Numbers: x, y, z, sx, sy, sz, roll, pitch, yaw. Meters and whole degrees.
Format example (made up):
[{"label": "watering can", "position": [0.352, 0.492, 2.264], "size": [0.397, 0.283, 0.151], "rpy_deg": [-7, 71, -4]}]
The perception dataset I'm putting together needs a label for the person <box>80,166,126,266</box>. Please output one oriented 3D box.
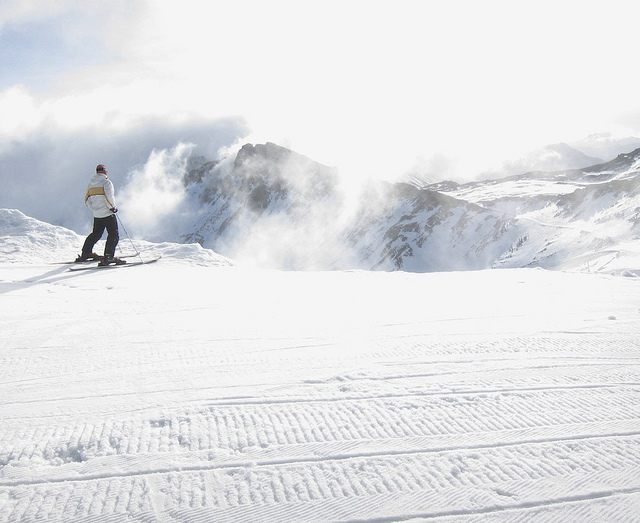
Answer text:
[{"label": "person", "position": [-4.729, -0.931, 15.067], "size": [0.889, 2.165, 0.854], "rpy_deg": [-3, 10, -16]}]
